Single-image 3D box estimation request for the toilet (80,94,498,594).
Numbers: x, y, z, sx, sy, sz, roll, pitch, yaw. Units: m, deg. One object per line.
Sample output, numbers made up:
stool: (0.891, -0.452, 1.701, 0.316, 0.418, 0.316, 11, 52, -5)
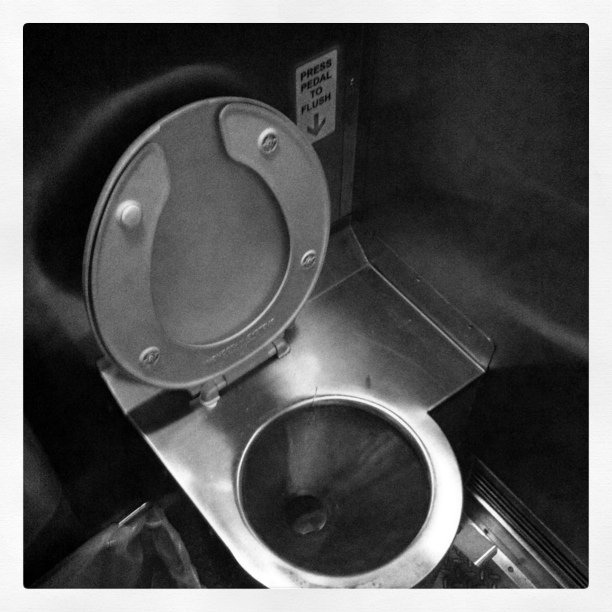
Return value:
toilet: (-0.026, 0.078, 0.894, 0.354, 0.520, 0.426, -37, 71, -14)
